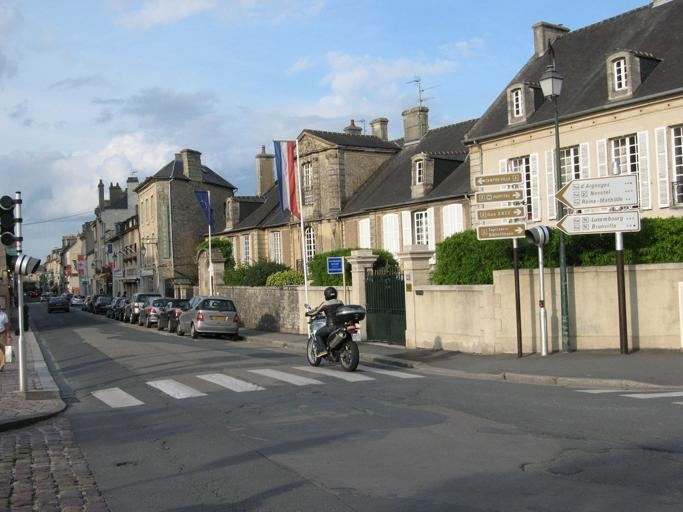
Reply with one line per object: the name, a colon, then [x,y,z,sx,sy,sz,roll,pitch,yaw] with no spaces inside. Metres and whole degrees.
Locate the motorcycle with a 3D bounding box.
motorcycle: [-0.157,1.907,18.937,0.667,1.569,1.615,0,-4,-35]

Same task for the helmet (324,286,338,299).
helmet: [-0.247,0.864,19.159,0.238,0.261,0.293,-2,12,-15]

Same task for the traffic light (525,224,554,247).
traffic light: [4.852,-0.517,19.586,0.568,0.495,0.427,-7,8,-35]

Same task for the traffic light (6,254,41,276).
traffic light: [-6.612,0.167,16.720,0.530,0.434,1.061,0,-4,-25]

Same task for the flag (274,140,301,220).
flag: [-2.032,-2.971,29.647,0.754,2.703,1.954,-1,-3,-4]
